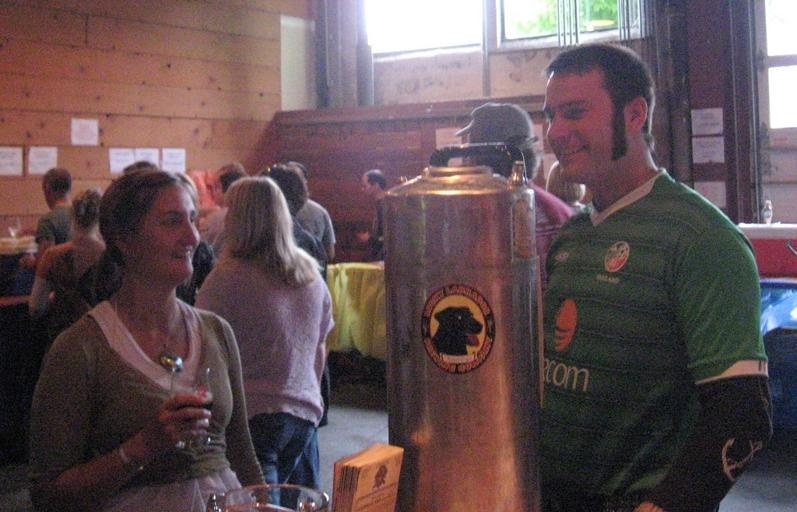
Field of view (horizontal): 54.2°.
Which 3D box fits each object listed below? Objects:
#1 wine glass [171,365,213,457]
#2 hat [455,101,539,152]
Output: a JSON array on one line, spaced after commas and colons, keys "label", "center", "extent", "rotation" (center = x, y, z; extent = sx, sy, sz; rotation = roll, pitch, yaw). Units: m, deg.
[{"label": "wine glass", "center": [-0.757, 0.579, 2.869], "extent": [0.150, 0.348, 0.301], "rotation": [-5, 8, -14]}, {"label": "hat", "center": [0.446, -0.548, 3.457], "extent": [0.373, 0.222, 0.231], "rotation": [7, 7, 17]}]
